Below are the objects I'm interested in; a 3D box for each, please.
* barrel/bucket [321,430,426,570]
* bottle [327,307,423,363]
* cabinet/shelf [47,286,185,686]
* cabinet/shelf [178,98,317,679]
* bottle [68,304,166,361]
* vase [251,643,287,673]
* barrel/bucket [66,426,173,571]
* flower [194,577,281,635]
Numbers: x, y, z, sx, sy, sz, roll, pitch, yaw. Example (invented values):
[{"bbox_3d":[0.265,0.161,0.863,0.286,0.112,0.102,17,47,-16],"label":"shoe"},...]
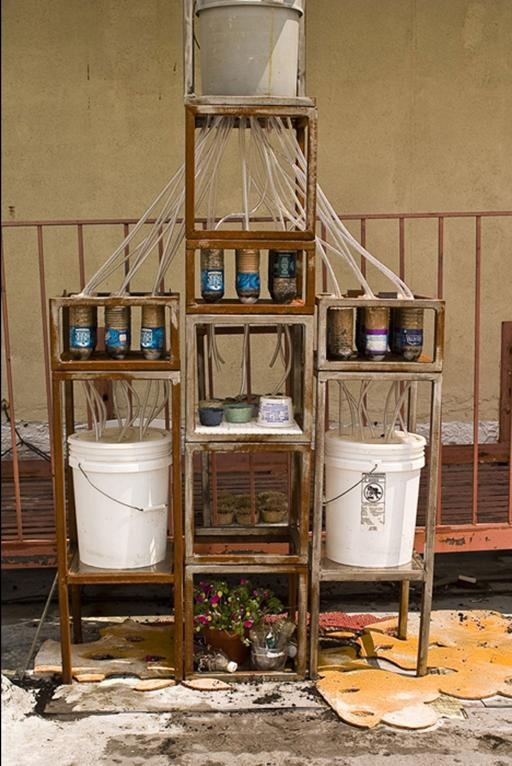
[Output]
[{"bbox_3d":[0.401,0.389,3.810,0.381,0.461,0.374,0,1,0],"label":"barrel/bucket"},{"bbox_3d":[0.390,-0.165,3.734,0.216,0.145,0.223,0,6,0],"label":"bottle"},{"bbox_3d":[-0.467,0.403,3.770,0.536,1.319,0.564,-6,-6,40],"label":"cabinet/shelf"},{"bbox_3d":[-0.023,-0.001,3.902,0.457,1.915,0.860,1,11,2],"label":"cabinet/shelf"},{"bbox_3d":[-0.467,-0.191,3.698,0.326,0.190,0.348,1,12,0],"label":"bottle"},{"bbox_3d":[0.043,0.919,3.707,0.090,0.072,0.086,2,-9,-11],"label":"vase"},{"bbox_3d":[-0.423,0.362,3.776,0.387,0.465,0.412,0,4,0],"label":"barrel/bucket"},{"bbox_3d":[-0.088,0.797,3.798,0.210,0.174,0.273,-15,17,-7],"label":"flower"}]
